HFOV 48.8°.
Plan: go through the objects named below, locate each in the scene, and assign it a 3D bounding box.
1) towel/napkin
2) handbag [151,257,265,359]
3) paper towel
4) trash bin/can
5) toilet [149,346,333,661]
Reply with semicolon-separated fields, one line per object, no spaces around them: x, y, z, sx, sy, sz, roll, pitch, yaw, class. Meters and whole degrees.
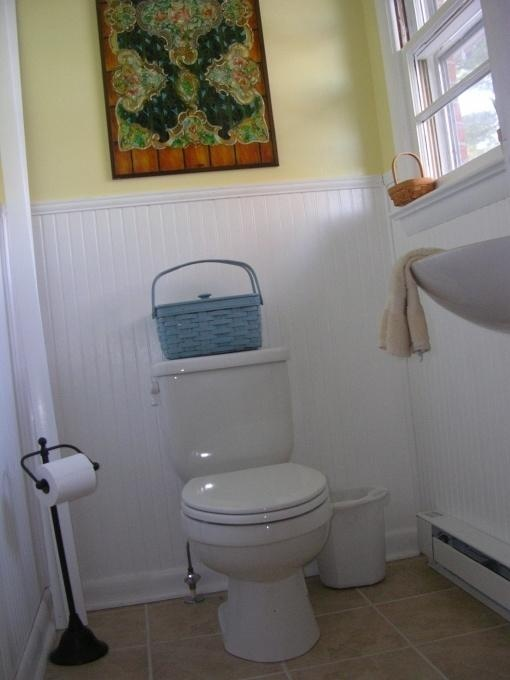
0.365;-0.094;1.352;0.135;0.248;0.114;-7;15;21;towel/napkin
-0.168;-0.099;1.826;0.267;0.270;0.154;-10;-9;-8;handbag
-0.506;0.345;1.514;0.118;0.137;0.150;27;25;38;paper towel
0.322;0.640;1.887;0.305;0.323;0.205;-2;1;-13;trash bin/can
-0.031;0.440;1.557;0.427;0.808;0.495;-5;1;-11;toilet
